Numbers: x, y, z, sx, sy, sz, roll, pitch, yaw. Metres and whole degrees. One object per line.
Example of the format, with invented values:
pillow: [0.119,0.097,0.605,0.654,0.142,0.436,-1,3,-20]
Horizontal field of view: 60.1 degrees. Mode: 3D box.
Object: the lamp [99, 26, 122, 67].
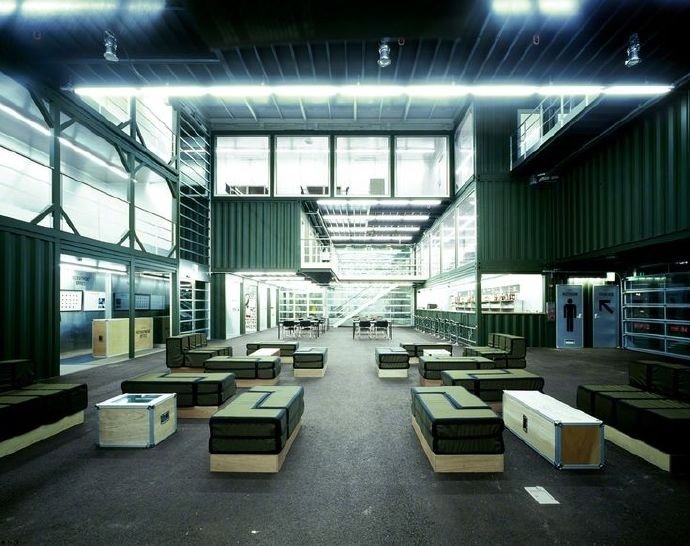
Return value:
lamp: [-5.068,-4.847,12.912,0.266,0.596,0.530,-2,-4,-18]
